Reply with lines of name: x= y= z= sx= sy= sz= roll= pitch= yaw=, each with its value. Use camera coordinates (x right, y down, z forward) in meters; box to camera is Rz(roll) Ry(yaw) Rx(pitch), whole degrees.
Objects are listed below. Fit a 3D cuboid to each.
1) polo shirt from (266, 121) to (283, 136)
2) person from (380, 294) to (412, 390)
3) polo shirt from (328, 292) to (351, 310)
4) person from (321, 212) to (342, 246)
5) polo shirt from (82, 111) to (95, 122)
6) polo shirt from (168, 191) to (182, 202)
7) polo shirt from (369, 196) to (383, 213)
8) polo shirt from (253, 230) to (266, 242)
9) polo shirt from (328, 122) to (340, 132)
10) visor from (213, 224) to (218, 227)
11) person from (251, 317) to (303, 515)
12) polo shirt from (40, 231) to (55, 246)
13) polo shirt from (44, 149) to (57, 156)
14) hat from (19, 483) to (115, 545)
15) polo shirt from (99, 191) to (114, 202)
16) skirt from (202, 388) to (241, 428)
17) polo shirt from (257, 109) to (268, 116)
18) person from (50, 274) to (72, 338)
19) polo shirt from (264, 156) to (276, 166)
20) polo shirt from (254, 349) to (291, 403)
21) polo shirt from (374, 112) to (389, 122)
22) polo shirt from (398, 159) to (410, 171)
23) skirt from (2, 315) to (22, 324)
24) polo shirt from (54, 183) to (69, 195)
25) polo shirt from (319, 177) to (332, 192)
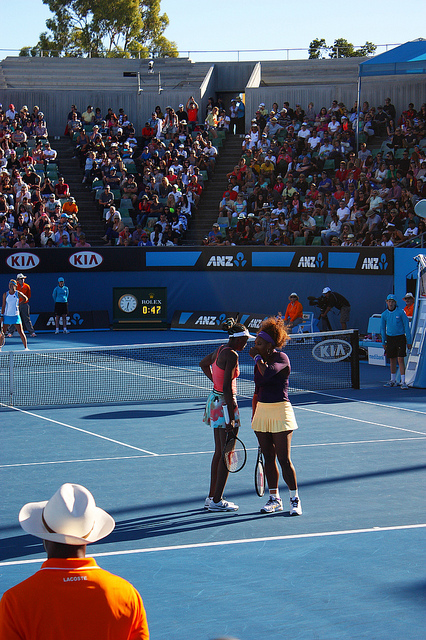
polo shirt: x=1.946 y=-6.048 z=31.781 sx=0.584 sy=0.583 sz=0.328 roll=0 pitch=-8 yaw=0
person: x=3.279 y=0.416 z=18.034 sx=0.461 sy=1.662 sz=0.580 roll=1 pitch=5 yaw=3
polo shirt: x=2.783 y=-0.415 z=22.136 sx=0.371 sy=0.390 sz=0.383 roll=-7 pitch=18 yaw=21
person: x=2.902 y=-2.269 z=24.703 sx=0.505 sy=0.800 sz=0.392 roll=2 pitch=6 yaw=14
polo shirt: x=-4.395 y=-7.145 z=35.073 sx=0.479 sy=0.483 sz=0.279 roll=0 pitch=1 yaw=-8
polo shirt: x=-1.106 y=-3.646 z=28.992 sx=0.447 sy=0.434 sz=0.249 roll=-1 pitch=-7 yaw=-7
polo shirt: x=3.934 y=-2.873 z=24.342 sx=0.152 sy=0.290 sz=0.457 roll=-3 pitch=6 yaw=-28
polo shirt: x=1.227 y=-2.226 z=26.412 sx=0.397 sy=0.293 sz=0.223 roll=-3 pitch=-13 yaw=41
polo shirt: x=3.637 y=-5.859 z=30.213 sx=0.339 sy=0.315 sz=0.336 roll=1 pitch=5 yaw=5
visor: x=0.060 y=-2.612 z=27.449 sx=0.146 sy=0.037 sz=0.148 roll=-1 pitch=0 yaw=-7
person: x=0.578 y=0.917 z=9.284 sx=0.458 sy=1.859 sz=0.507 roll=1 pitch=5 yaw=5
polo shirt: x=-4.571 y=-2.298 z=27.482 sx=0.287 sy=0.362 sz=0.388 roll=1 pitch=-27 yaw=-6
polo shirt: x=-5.302 y=-5.437 z=32.334 sx=0.310 sy=0.206 sz=0.476 roll=0 pitch=5 yaw=-1
hat: x=-0.637 y=0.841 z=4.413 sx=0.418 sy=0.190 sz=0.457 roll=4 pitch=18 yaw=-32
polo shirt: x=-3.155 y=-3.569 z=29.457 sx=0.470 sy=0.402 sz=0.247 roll=3 pitch=-15 yaw=-11
skirt: x=0.064 y=0.794 z=9.555 sx=0.256 sy=0.444 sz=0.440 roll=-2 pitch=3 yaw=-25
polo shirt: x=1.631 y=-6.925 z=33.213 sx=0.373 sy=0.233 sz=0.508 roll=8 pitch=17 yaw=-2
person: x=-4.074 y=-0.409 z=26.496 sx=0.556 sy=1.573 sz=2.064 roll=-1 pitch=5 yaw=-9
polo shirt: x=1.678 y=-4.743 z=29.499 sx=0.309 sy=0.300 sz=0.171 roll=-1 pitch=-8 yaw=2
polo shirt: x=0.533 y=0.516 z=9.193 sx=0.314 sy=0.496 sz=0.302 roll=0 pitch=5 yaw=1
polo shirt: x=5.105 y=-6.203 z=30.450 sx=0.504 sy=0.315 sz=0.396 roll=3 pitch=6 yaw=28
polo shirt: x=5.043 y=-4.111 z=26.335 sx=0.266 sy=0.334 sz=0.650 roll=0 pitch=5 yaw=2
skirt: x=-4.445 y=-0.085 z=21.962 sx=0.348 sy=0.232 sz=0.195 roll=0 pitch=-15 yaw=-1
polo shirt: x=-4.559 y=-3.930 z=29.997 sx=0.502 sy=0.481 sz=0.266 roll=0 pitch=-4 yaw=-8
polo shirt: x=2.961 y=-3.640 z=26.670 sx=0.436 sy=0.342 sz=0.197 roll=5 pitch=7 yaw=43
